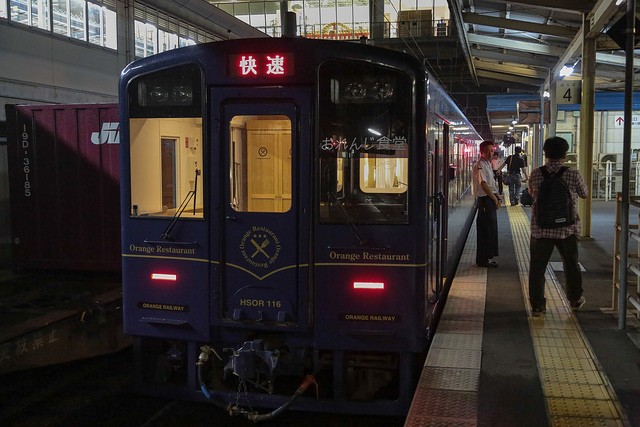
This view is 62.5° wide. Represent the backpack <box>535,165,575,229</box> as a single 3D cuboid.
[{"bbox_3d":[3.169,-0.230,7.067,0.473,0.839,0.457,-5,11,30],"label":"backpack"}]

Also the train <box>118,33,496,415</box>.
[{"bbox_3d":[-0.452,0.168,5.805,3.391,4.088,0.891,-4,13,7],"label":"train"}]
